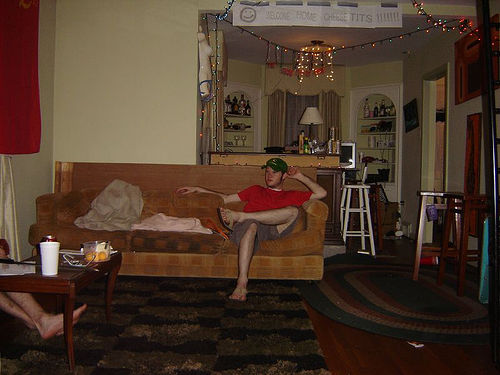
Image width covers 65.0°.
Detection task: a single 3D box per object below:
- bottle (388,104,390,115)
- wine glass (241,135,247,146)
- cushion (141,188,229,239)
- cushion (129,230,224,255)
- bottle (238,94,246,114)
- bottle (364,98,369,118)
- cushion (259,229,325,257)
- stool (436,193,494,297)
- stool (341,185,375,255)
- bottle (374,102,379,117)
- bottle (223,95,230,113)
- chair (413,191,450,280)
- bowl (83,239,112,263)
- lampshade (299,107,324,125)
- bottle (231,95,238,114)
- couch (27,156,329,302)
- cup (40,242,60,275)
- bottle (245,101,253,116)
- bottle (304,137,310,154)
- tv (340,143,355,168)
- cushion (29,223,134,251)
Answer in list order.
[{"bbox_3d":[2.779,-1.540,7.840,0.035,0.180,0.182,3,6,19],"label":"bottle"},{"bbox_3d":[-0.140,-0.908,7.399,0.133,0.239,0.132,-1,4,9],"label":"wine glass"},{"bbox_3d":[-0.722,0.219,4.115,0.687,0.233,0.481,5,-31,3],"label":"cushion"},{"bbox_3d":[-0.625,0.490,3.512,0.523,0.141,0.342,1,4,-1],"label":"cushion"},{"bbox_3d":[-0.157,-1.703,7.985,0.143,0.420,0.275,1,6,1],"label":"bottle"},{"bbox_3d":[2.434,-1.658,8.175,0.090,0.428,0.396,3,6,16],"label":"bottle"},{"bbox_3d":[0.366,0.480,3.492,0.564,0.232,0.180,1,6,1],"label":"cushion"},{"bbox_3d":[1.935,0.497,3.583,0.395,0.964,1.554,4,6,29],"label":"stool"},{"bbox_3d":[1.402,0.397,5.163,0.489,0.863,0.553,0,0,26],"label":"stool"},{"bbox_3d":[2.568,-1.547,7.955,0.095,0.237,0.271,3,6,16],"label":"bottle"},{"bbox_3d":[-0.459,-1.645,7.759,0.070,0.342,0.309,2,6,6],"label":"bottle"},{"bbox_3d":[1.823,0.368,3.799,0.323,0.604,0.353,-7,2,-32],"label":"chair"},{"bbox_3d":[-0.985,0.407,2.532,0.109,0.112,0.144,4,10,19],"label":"bowl"},{"bbox_3d":[1.030,-1.189,6.635,0.286,0.237,0.300,-3,8,-19],"label":"lampshade"},{"bbox_3d":[-0.304,-1.639,7.872,0.129,0.328,0.200,1,5,-3],"label":"bottle"},{"bbox_3d":[-0.691,0.338,3.901,2.630,1.151,1.009,1,2,-9],"label":"couch"},{"bbox_3d":[-1.139,0.402,2.248,0.090,0.187,0.101,6,7,43],"label":"cup"},{"bbox_3d":[-0.016,-1.620,8.021,0.142,0.309,0.163,2,6,9],"label":"bottle"},{"bbox_3d":[0.776,-0.582,5.390,0.058,0.195,0.071,3,6,18],"label":"bottle"},{"bbox_3d":[1.701,-0.566,6.804,0.249,0.419,0.283,2,6,14],"label":"tv"},{"bbox_3d":[-1.545,0.456,3.532,0.973,0.205,0.336,2,6,5],"label":"cushion"}]
